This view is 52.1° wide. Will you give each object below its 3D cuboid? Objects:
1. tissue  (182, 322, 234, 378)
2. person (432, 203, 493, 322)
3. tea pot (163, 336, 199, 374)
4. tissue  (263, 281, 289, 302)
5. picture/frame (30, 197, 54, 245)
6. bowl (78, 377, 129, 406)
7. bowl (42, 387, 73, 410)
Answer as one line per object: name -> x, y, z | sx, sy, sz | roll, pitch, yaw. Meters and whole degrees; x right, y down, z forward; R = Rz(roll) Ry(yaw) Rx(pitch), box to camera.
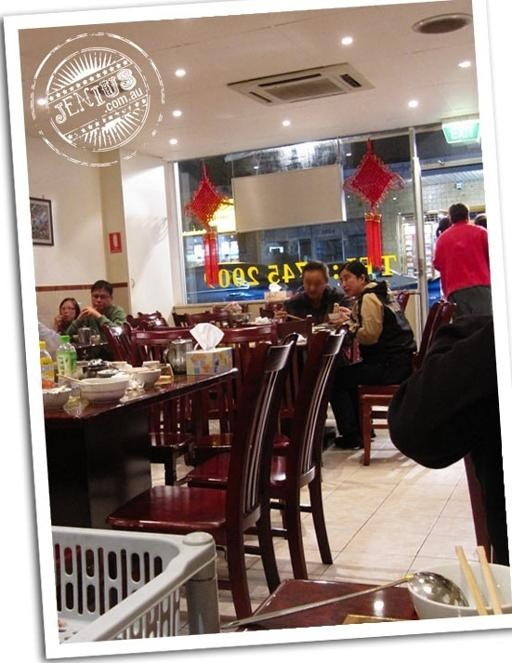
tissue  -> -0.206, 0.078, 2.337 | 0.210, 0.214, 0.173 | 2, 8, 5
person -> 2.034, -0.484, 5.069 | 0.509, 1.414, 0.445 | -5, 14, 23
tea pot -> -0.343, 0.114, 2.333 | 0.129, 0.140, 0.180 | -5, 5, -10
tissue  -> 0.280, -0.549, 7.549 | 0.365, 0.372, 0.382 | -2, 7, -3
picture/frame -> -2.760, -1.404, 6.728 | 0.127, 0.624, 0.382 | -3, 5, 13
bowl -> -0.498, 0.194, 1.715 | 0.146, 0.054, 0.084 | -2, 1, 17
bowl -> -0.625, 0.213, 1.636 | 0.078, 0.060, 0.069 | -7, 6, -32
